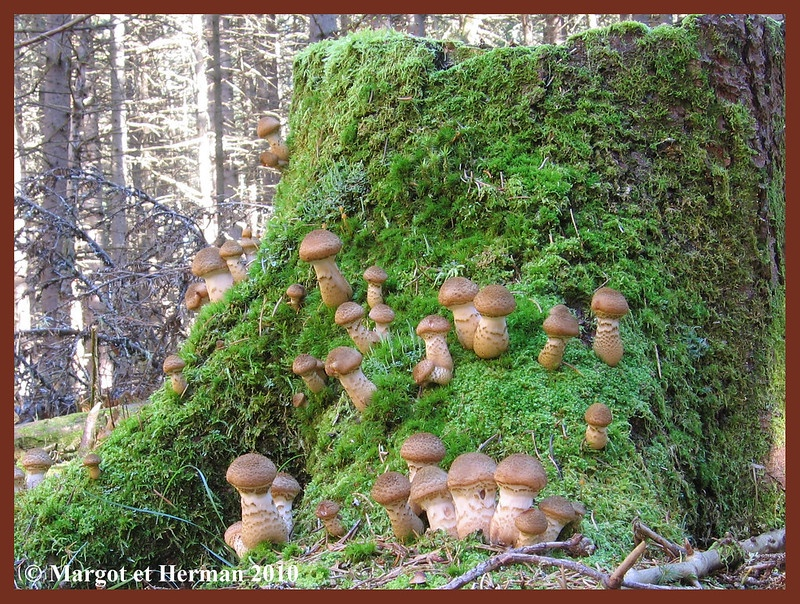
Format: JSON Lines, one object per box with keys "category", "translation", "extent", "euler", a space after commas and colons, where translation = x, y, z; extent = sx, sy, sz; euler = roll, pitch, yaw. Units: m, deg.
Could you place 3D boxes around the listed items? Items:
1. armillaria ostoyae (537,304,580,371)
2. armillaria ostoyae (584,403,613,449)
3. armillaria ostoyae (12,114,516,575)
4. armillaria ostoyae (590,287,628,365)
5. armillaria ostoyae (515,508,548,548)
{"category": "armillaria ostoyae", "translation": [1.280, 0.309, 5.815], "extent": [0.321, 0.589, 0.305], "euler": [11, 27, 12]}
{"category": "armillaria ostoyae", "translation": [1.521, 0.950, 5.538], "extent": [0.211, 0.378, 0.282], "euler": [-8, 4, 12]}
{"category": "armillaria ostoyae", "translation": [-1.382, 0.453, 7.028], "extent": [4.931, 5.074, 1.822], "euler": [-1, 4, -11]}
{"category": "armillaria ostoyae", "translation": [1.723, 0.205, 5.913], "extent": [0.293, 0.662, 0.319], "euler": [-8, 4, 7]}
{"category": "armillaria ostoyae", "translation": [0.907, 1.563, 4.988], "extent": [0.234, 0.182, 0.166], "euler": [-8, 4, 4]}
